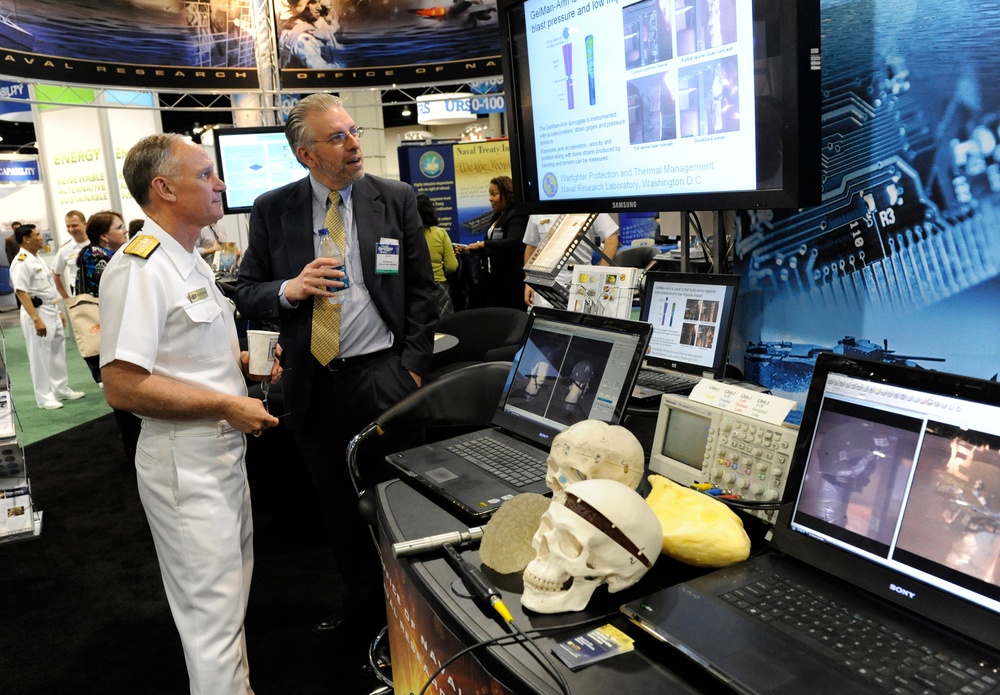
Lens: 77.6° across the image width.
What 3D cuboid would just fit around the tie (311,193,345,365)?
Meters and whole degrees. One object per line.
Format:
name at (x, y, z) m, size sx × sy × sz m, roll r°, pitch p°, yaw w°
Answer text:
tie at (-0.676, -0.254, 2.332) m, size 0.137 × 0.620 × 0.206 m, roll -1°, pitch 13°, yaw -6°

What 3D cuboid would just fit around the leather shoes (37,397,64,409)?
leather shoes at (-4.659, 0.544, 6.243) m, size 0.200 × 0.075 × 0.131 m, roll 0°, pitch 10°, yaw 16°

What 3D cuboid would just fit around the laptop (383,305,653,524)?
laptop at (0.030, 0.118, 1.618) m, size 0.561 × 0.387 × 0.535 m, roll -8°, pitch 10°, yaw -29°

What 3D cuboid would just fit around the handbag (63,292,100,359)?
handbag at (-2.864, -0.120, 4.158) m, size 0.173 × 0.436 × 0.414 m, roll -9°, pitch 16°, yaw -35°

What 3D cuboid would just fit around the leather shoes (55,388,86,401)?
leather shoes at (-4.650, 0.482, 6.547) m, size 0.269 × 0.113 × 0.093 m, roll -9°, pitch 23°, yaw -22°

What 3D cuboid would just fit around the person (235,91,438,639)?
person at (-0.659, 0.124, 2.475) m, size 0.809 × 2.102 × 0.656 m, roll -5°, pitch 11°, yaw -10°

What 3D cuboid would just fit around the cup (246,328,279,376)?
cup at (-0.794, 0.015, 2.054) m, size 0.131 × 0.148 × 0.135 m, roll 2°, pitch 5°, yaw 0°

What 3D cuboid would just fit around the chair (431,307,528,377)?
chair at (-0.134, -0.068, 3.919) m, size 0.458 × 0.511 × 0.471 m, roll 3°, pitch 6°, yaw 27°
